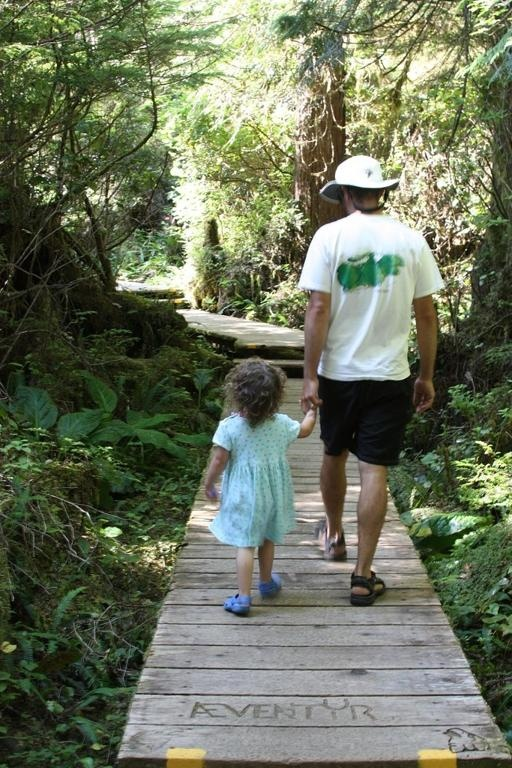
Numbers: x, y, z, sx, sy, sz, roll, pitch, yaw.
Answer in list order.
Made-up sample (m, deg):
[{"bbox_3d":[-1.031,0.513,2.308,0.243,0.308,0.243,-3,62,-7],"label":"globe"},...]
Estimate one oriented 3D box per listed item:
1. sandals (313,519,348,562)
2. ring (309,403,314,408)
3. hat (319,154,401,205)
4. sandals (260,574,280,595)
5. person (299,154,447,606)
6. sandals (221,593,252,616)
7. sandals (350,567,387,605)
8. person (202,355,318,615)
[{"bbox_3d":[0.369,0.772,3.452,0.080,0.087,0.225,-3,33,-1],"label":"sandals"},{"bbox_3d":[0.227,0.087,2.854,0.016,0.019,0.007,-1,-6,4],"label":"ring"},{"bbox_3d":[0.431,-0.899,2.959,0.238,0.119,0.282,2,4,10],"label":"hat"},{"bbox_3d":[0.061,0.866,3.004,0.050,0.055,0.134,0,4,12],"label":"sandals"},{"bbox_3d":[0.479,0.102,2.970,0.505,1.603,0.567,5,10,26],"label":"person"},{"bbox_3d":[-0.075,0.882,2.812,0.111,0.092,0.111,0,8,-2],"label":"sandals"},{"bbox_3d":[0.460,0.849,2.913,0.088,0.076,0.180,0,7,14],"label":"sandals"},{"bbox_3d":[0.013,0.411,2.859,0.329,1.014,0.391,5,10,26],"label":"person"}]
